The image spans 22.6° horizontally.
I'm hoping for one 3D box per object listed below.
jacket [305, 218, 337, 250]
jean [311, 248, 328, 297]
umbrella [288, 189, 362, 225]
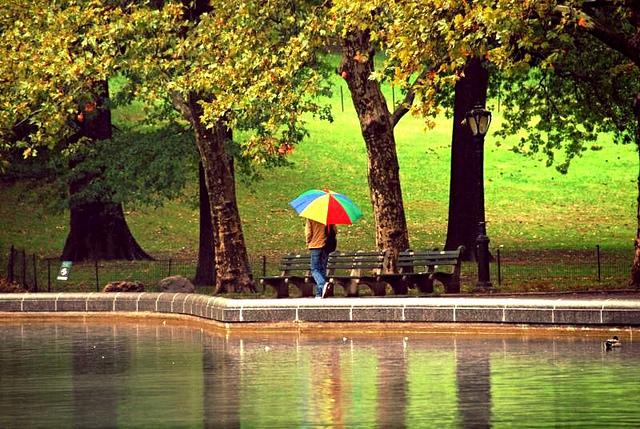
[{"bbox_3d":[0.043,0.613,46.628,0.929,1.230,0.549,1,7,7],"label":"jacket"},{"bbox_3d":[0.009,1.737,46.516,0.491,1.385,0.797,-2,6,0],"label":"jean"},{"bbox_3d":[0.234,-0.103,46.786,1.828,1.015,1.635,-2,6,1],"label":"umbrella"}]
